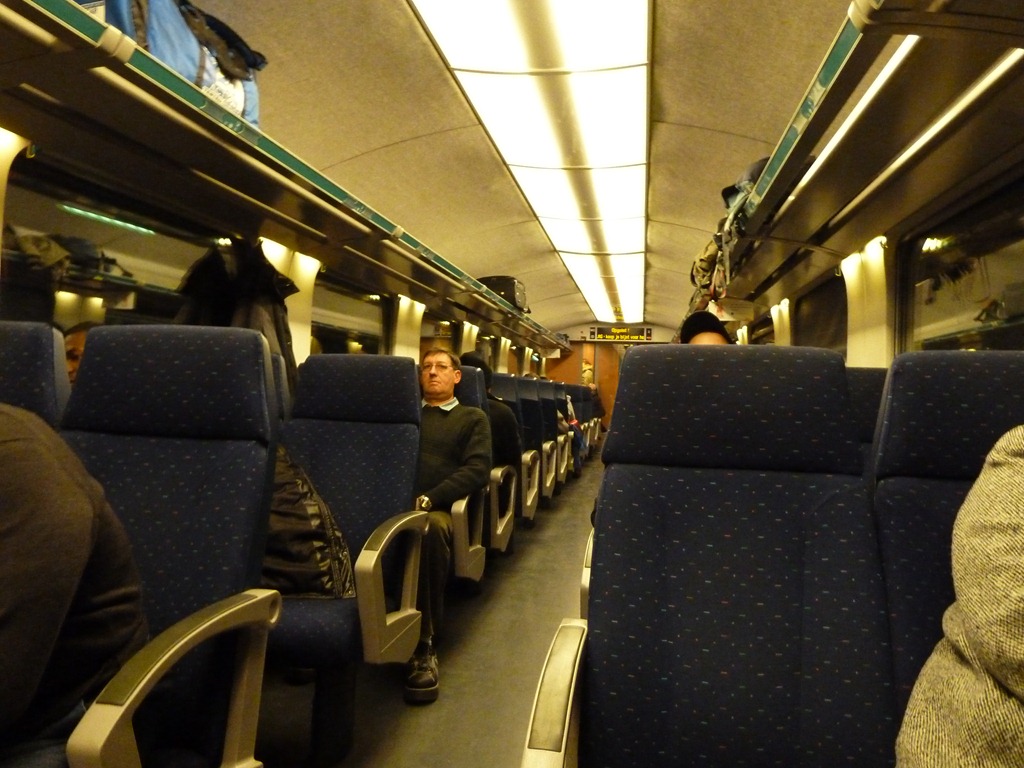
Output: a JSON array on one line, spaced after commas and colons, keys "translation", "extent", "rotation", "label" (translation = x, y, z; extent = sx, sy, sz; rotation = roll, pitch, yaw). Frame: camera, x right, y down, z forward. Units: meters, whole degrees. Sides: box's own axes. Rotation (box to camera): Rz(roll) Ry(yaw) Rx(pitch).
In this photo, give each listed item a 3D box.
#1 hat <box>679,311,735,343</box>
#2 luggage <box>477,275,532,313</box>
[{"translation": [0.938, -0.212, 3.576], "extent": [0.232, 0.217, 0.207], "rotation": [2, 39, 4], "label": "hat"}, {"translation": [-0.076, -1.495, 11.875], "extent": [0.785, 0.236, 0.545], "rotation": [21, -3, -8], "label": "luggage"}]
